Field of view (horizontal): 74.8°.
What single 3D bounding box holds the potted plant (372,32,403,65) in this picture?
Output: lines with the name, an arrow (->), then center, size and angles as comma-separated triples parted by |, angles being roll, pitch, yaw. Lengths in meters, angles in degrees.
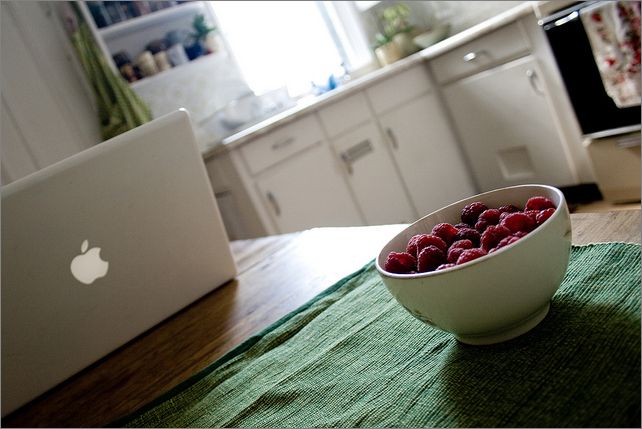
potted plant -> 0.509, -1.190, 3.141 | 0.225, 0.170, 0.227 | 19, 55, 23

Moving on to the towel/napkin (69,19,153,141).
towel/napkin -> -1.474, -0.817, 2.685 | 0.323, 0.732, 0.393 | -1, 1, 1

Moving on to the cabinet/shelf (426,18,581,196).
cabinet/shelf -> 1.277, -0.677, 2.733 | 0.855, 1.015, 0.783 | -17, 7, 29

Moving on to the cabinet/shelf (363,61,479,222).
cabinet/shelf -> 0.687, -0.567, 3.055 | 0.728, 1.033, 0.734 | -37, 25, -14

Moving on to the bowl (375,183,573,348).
bowl -> 0.199, 0.072, 0.514 | 0.224, 0.127, 0.225 | -22, 3, 1
